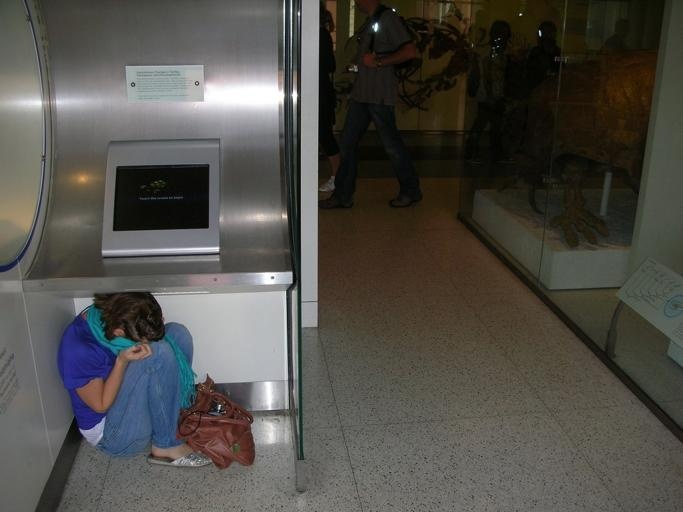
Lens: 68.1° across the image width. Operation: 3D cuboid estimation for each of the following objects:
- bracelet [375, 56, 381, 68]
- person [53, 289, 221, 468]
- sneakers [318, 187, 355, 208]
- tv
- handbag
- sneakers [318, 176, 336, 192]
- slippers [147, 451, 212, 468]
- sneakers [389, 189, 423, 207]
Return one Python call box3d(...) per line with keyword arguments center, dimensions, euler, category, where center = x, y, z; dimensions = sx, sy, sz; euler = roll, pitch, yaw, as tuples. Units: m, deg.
box3d(center=(0.302, -1.635, 4.254), dimensions=(0.066, 0.094, 0.027), euler=(1, 7, 10), category="bracelet")
box3d(center=(-0.686, 0.315, 1.984), dimensions=(0.597, 0.781, 0.468), euler=(1, 31, -13), category="person")
box3d(center=(-0.050, -0.506, 4.762), dimensions=(0.328, 0.242, 0.144), euler=(5, 45, 2), category="sneakers")
box3d(center=(-0.638, -0.177, 1.771), dimensions=(0.427, 0.451, 0.043), euler=(0, -17, -2), category="tv")
box3d(center=(-0.486, 0.641, 1.952), dimensions=(0.317, 0.151, 0.281), euler=(29, 12, -18), category="handbag")
box3d(center=(-0.109, -0.762, 5.312), dimensions=(0.247, 0.181, 0.102), euler=(1, 35, 8), category="sneakers")
box3d(center=(-0.615, 0.753, 1.884), dimensions=(0.209, 0.054, 0.084), euler=(3, 8, -7), category="slippers")
box3d(center=(0.614, -0.542, 4.789), dimensions=(0.261, 0.109, 0.150), euler=(-4, 39, 2), category="sneakers")
